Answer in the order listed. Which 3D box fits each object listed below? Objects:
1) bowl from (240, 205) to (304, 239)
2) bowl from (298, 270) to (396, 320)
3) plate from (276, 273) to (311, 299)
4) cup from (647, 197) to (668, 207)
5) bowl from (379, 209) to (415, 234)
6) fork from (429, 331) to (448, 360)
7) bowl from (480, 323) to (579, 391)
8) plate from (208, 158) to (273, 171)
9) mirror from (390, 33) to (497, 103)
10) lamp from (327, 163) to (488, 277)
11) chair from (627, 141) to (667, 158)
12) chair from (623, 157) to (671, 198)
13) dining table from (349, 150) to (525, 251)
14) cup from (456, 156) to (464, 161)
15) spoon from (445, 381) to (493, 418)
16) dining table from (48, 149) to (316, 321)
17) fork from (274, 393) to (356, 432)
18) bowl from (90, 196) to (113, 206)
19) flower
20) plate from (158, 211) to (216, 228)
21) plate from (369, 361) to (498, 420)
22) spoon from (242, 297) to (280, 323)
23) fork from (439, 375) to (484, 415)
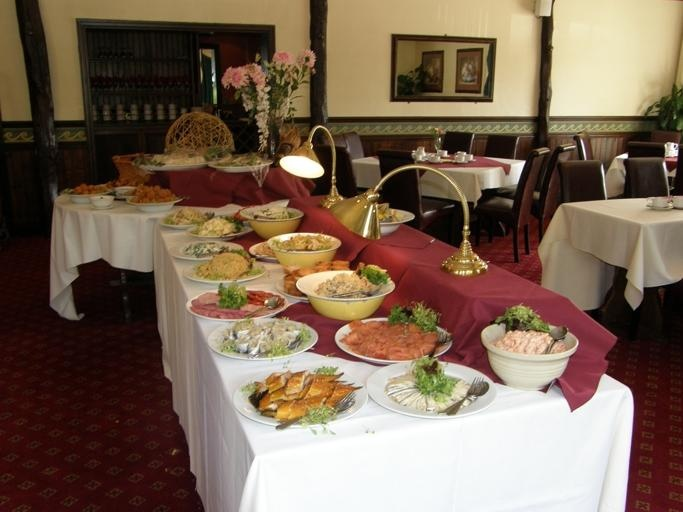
[{"bbox_3d":[-0.379,-0.179,2.589,0.334,0.123,0.327,-1,-14,0],"label":"bowl"},{"bbox_3d":[0.006,0.159,1.753,0.342,0.111,0.310,5,6,17],"label":"bowl"},{"bbox_3d":[-0.190,0.127,1.867,0.108,0.017,0.098,7,50,-3],"label":"plate"},{"bbox_3d":[2.129,-0.363,3.275,0.081,0.045,0.113,-1,4,5],"label":"cup"},{"bbox_3d":[0.252,-0.159,2.223,0.145,0.035,0.138,-9,27,5],"label":"bowl"},{"bbox_3d":[0.303,0.257,1.462,0.027,0.027,0.187,40,29,6],"label":"fork"},{"bbox_3d":[0.520,0.291,1.355,0.258,0.133,0.245,3,3,0],"label":"bowl"},{"bbox_3d":[-0.707,-0.595,3.231,0.484,0.079,0.228,2,18,10],"label":"plate"},{"bbox_3d":[1.568,-2.860,7.430,1.773,0.933,0.201,-7,20,-18],"label":"mirror"},{"bbox_3d":[0.242,-0.136,1.759,0.611,0.374,0.228,1,10,-1],"label":"lamp"},{"bbox_3d":[2.989,-1.046,4.766,0.321,0.128,0.273,10,21,29],"label":"chair"},{"bbox_3d":[2.557,-0.654,4.065,0.351,0.313,0.307,-3,19,-5],"label":"chair"},{"bbox_3d":[0.848,-0.492,4.074,1.090,0.199,0.808,15,24,39],"label":"dining table"},{"bbox_3d":[1.305,-1.065,5.296,0.065,0.042,0.061,-2,23,1],"label":"cup"},{"bbox_3d":[0.333,0.356,1.248,0.049,0.022,0.201,15,25,31],"label":"spoon"},{"bbox_3d":[-1.271,-0.204,3.397,1.336,0.630,1.020,-5,23,-18],"label":"dining table"},{"bbox_3d":[-0.067,0.378,1.169,0.150,0.020,0.021,-19,64,-15],"label":"fork"},{"bbox_3d":[-1.597,-0.377,3.225,0.094,0.039,0.093,0,14,0],"label":"bowl"},{"bbox_3d":[-0.448,-0.984,3.274,0.558,0.619,0.593,-1,5,6],"label":"flower"},{"bbox_3d":[-0.904,-0.223,2.837,0.174,0.047,0.160,6,19,21],"label":"plate"},{"bbox_3d":[0.224,0.348,1.250,0.198,0.023,0.186,-1,21,0],"label":"plate"},{"bbox_3d":[-0.265,0.178,1.675,0.044,0.027,0.176,10,18,15],"label":"spoon"},{"bbox_3d":[0.317,0.360,1.238,0.048,0.021,0.200,11,24,34],"label":"fork"}]
